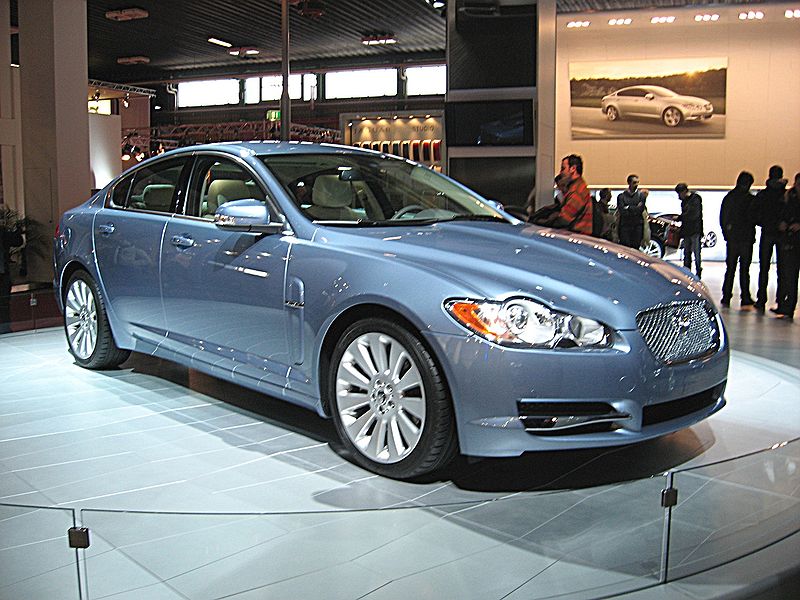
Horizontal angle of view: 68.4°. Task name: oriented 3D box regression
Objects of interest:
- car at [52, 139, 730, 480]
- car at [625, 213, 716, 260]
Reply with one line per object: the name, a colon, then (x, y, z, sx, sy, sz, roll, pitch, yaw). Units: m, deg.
car: (-0.479, -0.178, 4.098, 4.828, 1.802, 1.755, 6, 10, 34)
car: (6.583, -1.434, 14.073, 3.057, 0.835, 1.715, -11, 13, -43)
